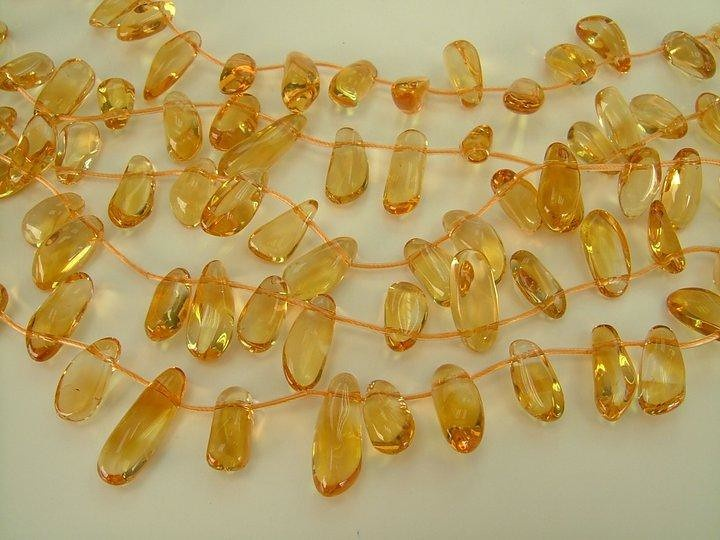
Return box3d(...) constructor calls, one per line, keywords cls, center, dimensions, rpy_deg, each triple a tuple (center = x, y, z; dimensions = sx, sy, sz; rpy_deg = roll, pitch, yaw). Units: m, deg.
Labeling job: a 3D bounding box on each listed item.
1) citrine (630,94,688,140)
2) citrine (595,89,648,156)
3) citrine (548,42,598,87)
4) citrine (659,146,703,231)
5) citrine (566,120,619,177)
box3d(cls="citrine", center=(0.433, -0.236, 0.989), dimensions=(0.072, 0.029, 0.093), rpy_deg=(17, 1, 43))
box3d(cls="citrine", center=(0.372, -0.214, 0.954), dimensions=(0.050, 0.116, 0.034), rpy_deg=(-27, -15, 9))
box3d(cls="citrine", center=(0.316, -0.311, 0.990), dimensions=(0.049, 0.070, 0.042), rpy_deg=(-32, -28, -20))
box3d(cls="citrine", center=(0.446, -0.116, 0.921), dimensions=(0.044, 0.126, 0.034), rpy_deg=(8, -6, -1))
box3d(cls="citrine", center=(0.328, -0.179, 0.942), dimensions=(0.050, 0.082, 0.032), rpy_deg=(-39, -2, -5))
